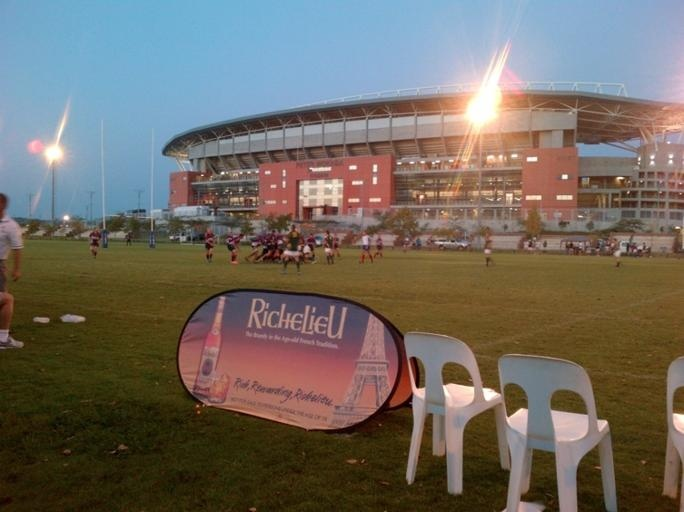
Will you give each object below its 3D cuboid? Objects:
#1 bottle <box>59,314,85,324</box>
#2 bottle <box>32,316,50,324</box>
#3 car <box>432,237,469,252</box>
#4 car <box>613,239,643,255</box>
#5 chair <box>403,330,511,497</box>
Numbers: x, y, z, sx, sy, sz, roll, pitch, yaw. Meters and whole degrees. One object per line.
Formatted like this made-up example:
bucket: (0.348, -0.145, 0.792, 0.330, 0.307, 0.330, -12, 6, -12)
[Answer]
bottle: (-4.704, 1.100, 9.082, 0.402, 0.114, 0.364, -3, 10, -21)
bottle: (-5.172, 1.102, 9.027, 0.164, 0.057, 0.174, 3, 2, 0)
car: (12.720, -1.186, 59.898, 2.933, 1.099, 1.912, -1, 4, 13)
car: (25.476, -0.783, 46.078, 1.550, 1.539, 2.521, -1, -2, -40)
chair: (1.008, 1.290, 4.649, 0.726, 1.350, 0.822, 0, 3, 37)
